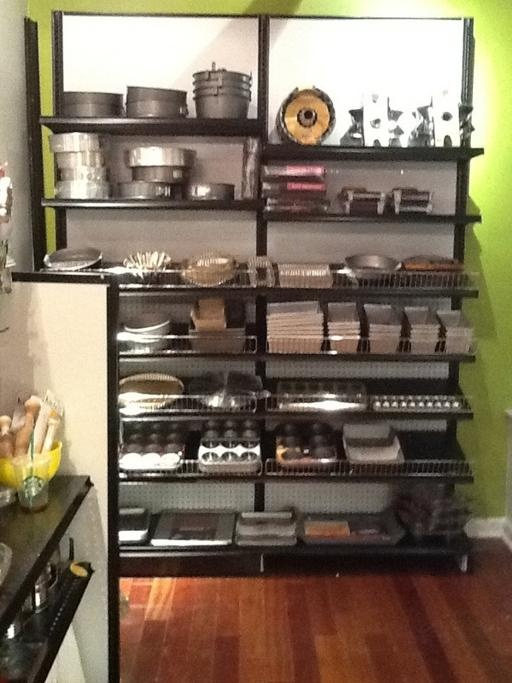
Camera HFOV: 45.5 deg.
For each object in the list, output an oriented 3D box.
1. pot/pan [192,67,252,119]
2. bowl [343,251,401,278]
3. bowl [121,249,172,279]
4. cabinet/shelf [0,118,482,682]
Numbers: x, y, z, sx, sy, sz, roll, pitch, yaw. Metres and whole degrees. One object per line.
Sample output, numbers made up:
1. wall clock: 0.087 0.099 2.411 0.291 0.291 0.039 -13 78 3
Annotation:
1. pot/pan: -0.149 -1.097 2.725 0.226 0.197 0.227 0 11 -3
2. bowl: 0.561 -0.370 2.963 0.259 0.109 0.308 1 7 11
3. bowl: -0.521 -0.368 2.903 0.145 0.075 0.163 0 15 5
4. cabinet/shelf: -0.034 0.175 2.642 1.946 2.216 0.691 -1 5 -3
